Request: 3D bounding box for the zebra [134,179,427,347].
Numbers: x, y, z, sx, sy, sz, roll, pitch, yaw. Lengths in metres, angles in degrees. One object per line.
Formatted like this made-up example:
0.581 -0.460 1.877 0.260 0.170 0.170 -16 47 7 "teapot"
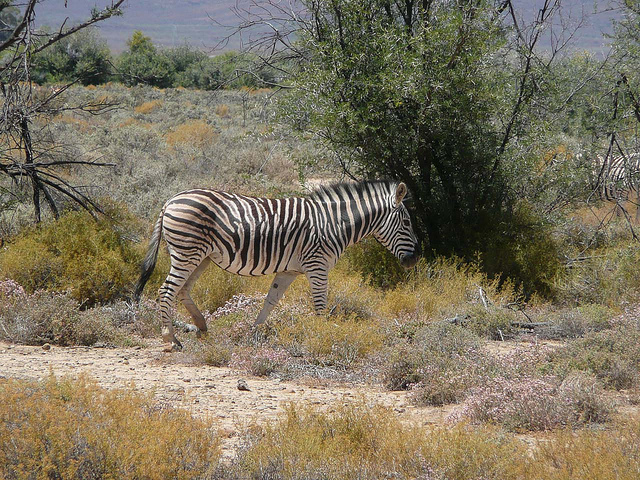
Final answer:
-0.776 0.465 12.699 4.575 2.881 1.117 -2 11 -12 "zebra"
